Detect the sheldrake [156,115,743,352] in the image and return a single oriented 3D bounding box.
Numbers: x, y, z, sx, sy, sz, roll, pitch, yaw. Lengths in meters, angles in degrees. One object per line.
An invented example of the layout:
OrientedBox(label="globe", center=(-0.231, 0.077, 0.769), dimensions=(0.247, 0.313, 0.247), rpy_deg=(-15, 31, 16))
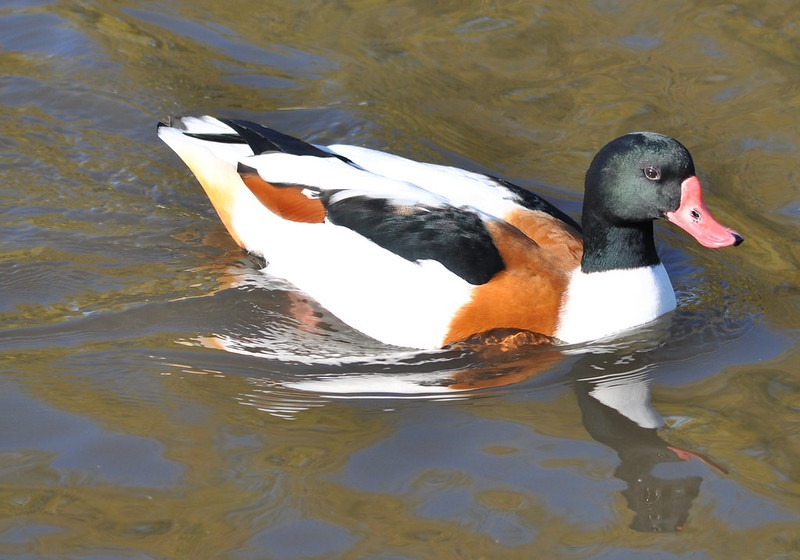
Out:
OrientedBox(label="sheldrake", center=(0.255, -0.240, 5.315), dimensions=(2.261, 1.218, 2.960), rpy_deg=(-7, 26, -22))
